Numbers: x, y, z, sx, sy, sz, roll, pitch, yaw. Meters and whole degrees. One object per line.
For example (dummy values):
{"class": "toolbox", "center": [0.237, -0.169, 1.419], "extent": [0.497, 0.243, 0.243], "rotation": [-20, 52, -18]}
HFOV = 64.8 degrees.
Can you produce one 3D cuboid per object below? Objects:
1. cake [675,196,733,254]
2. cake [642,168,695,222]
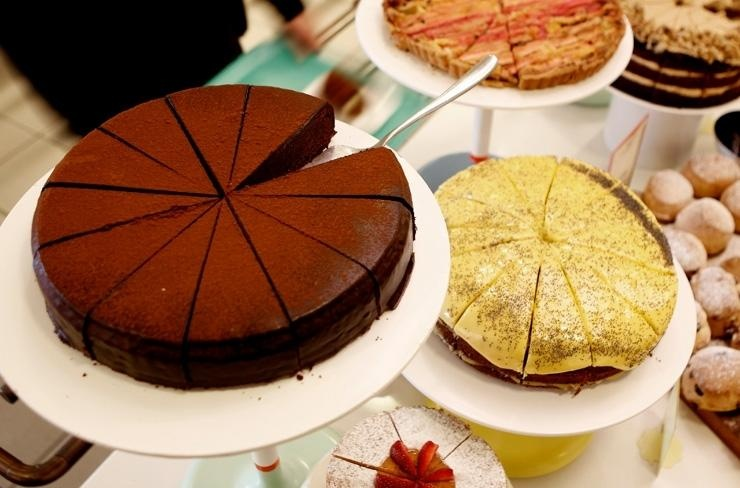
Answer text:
{"class": "cake", "center": [1.464, -0.071, 2.527], "extent": [0.224, 0.071, 0.247], "rotation": [-2, 89, 13]}
{"class": "cake", "center": [1.344, -0.222, 2.711], "extent": [0.213, 0.196, 0.225], "rotation": [-1, 51, 4]}
